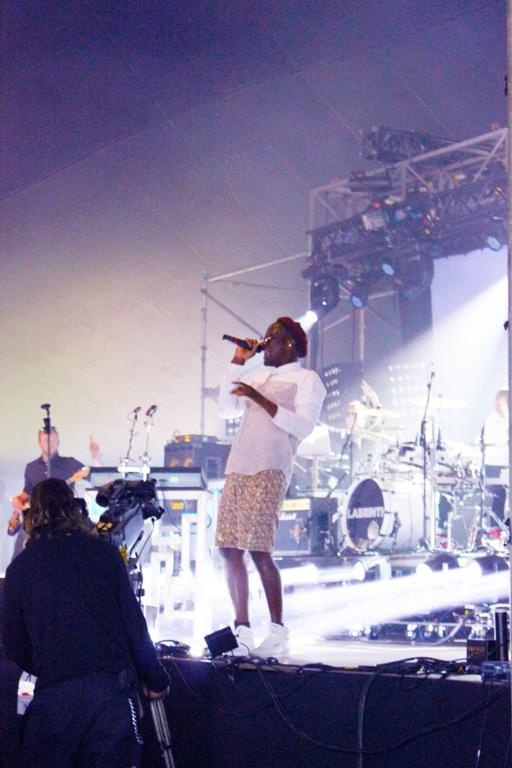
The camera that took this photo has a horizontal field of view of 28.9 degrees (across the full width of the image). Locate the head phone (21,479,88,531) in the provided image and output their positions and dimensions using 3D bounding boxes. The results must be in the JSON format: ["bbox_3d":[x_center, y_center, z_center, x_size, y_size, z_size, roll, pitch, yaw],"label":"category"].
[{"bbox_3d":[-0.652,0.405,3.223,0.182,0.167,0.180,0,-16,-18],"label":"head phone"}]

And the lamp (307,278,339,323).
[{"bbox_3d":[0.600,-0.761,8.764,0.245,0.290,0.360,-2,-7,13],"label":"lamp"}]

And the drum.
[{"bbox_3d":[0.969,0.866,7.303,0.558,0.591,0.699,2,-2,-35],"label":"drum"}]

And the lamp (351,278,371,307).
[{"bbox_3d":[0.952,-0.844,9.186,0.172,0.254,0.228,-1,-7,8],"label":"lamp"}]

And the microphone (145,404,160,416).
[{"bbox_3d":[-0.707,0.174,6.767,0.079,0.046,0.132,17,13,13],"label":"microphone"}]

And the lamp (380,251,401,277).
[{"bbox_3d":[1.200,-1.087,8.985,0.215,0.188,0.047,5,9,13],"label":"lamp"}]

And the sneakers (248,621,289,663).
[{"bbox_3d":[0.054,0.999,3.849,0.139,0.134,0.179,0,-7,1],"label":"sneakers"}]

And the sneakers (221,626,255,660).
[{"bbox_3d":[-0.084,1.016,3.880,0.145,0.127,0.065,-3,-32,-6],"label":"sneakers"}]

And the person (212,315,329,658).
[{"bbox_3d":[0.059,0.385,4.116,0.453,1.410,0.608,0,-7,2],"label":"person"}]

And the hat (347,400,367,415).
[{"bbox_3d":[0.863,0.203,8.483,0.122,0.117,0.156,-3,8,10],"label":"hat"}]
